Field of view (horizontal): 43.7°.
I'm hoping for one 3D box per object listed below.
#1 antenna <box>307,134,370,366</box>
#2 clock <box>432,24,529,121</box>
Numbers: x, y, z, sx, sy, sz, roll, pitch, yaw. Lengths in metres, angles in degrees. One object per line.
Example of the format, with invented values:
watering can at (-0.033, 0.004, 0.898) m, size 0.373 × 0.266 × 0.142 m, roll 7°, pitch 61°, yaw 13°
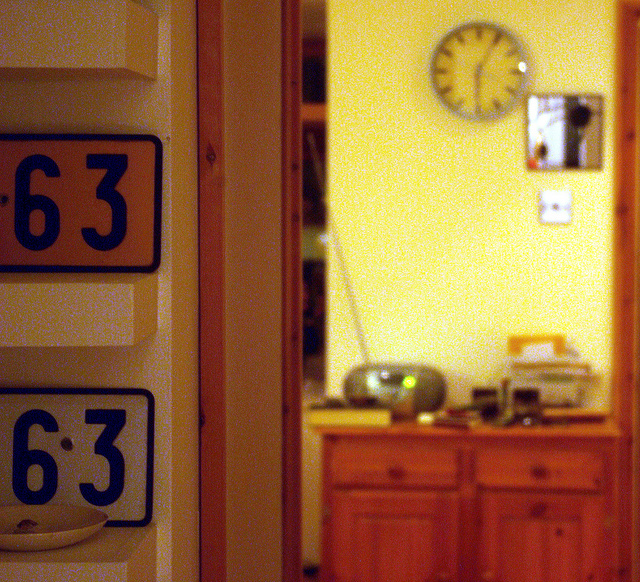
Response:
antenna at (0.055, -0.121, 2.527) m, size 0.056 × 0.663 × 0.359 m, roll -7°, pitch -16°, yaw 23°
clock at (0.520, -0.725, 2.604) m, size 0.240 × 0.305 × 0.016 m, roll -1°, pitch 7°, yaw 6°
